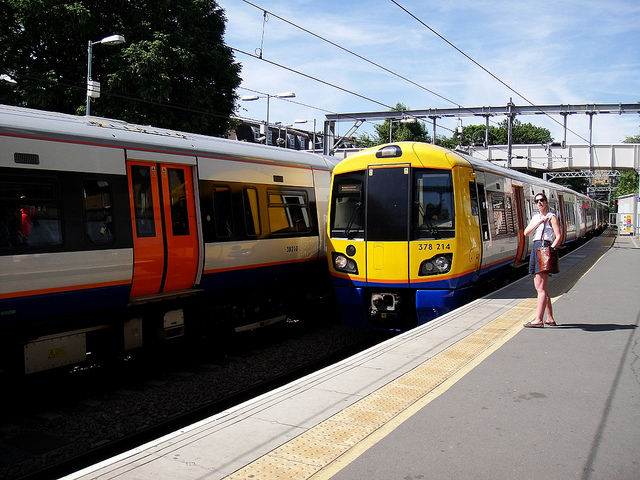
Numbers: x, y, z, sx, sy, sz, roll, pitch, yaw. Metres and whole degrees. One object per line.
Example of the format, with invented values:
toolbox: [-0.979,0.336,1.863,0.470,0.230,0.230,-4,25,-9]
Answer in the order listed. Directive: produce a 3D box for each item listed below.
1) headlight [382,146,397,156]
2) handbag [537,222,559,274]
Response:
headlight: [1.363,-1.726,8.823,0.270,0.181,0.060,1,4,15]
handbag: [3.766,0.141,7.435,0.314,0.823,0.251,1,4,16]
